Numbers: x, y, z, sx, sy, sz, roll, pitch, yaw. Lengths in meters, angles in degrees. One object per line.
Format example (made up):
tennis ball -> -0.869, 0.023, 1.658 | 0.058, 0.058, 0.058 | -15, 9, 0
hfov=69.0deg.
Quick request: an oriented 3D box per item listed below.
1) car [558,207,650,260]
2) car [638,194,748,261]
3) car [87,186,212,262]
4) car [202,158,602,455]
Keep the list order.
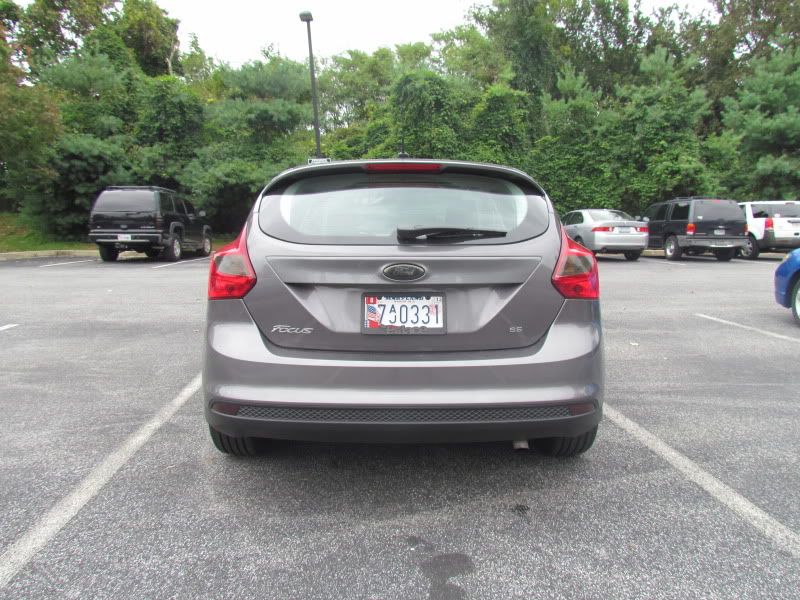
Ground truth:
car -> 7.128, -2.339, 20.639 | 2.037, 1.249, 4.096 | -1, 11, -5
car -> 10.707, -2.545, 20.919 | 3.058, 2.206, 1.924 | 5, 10, 27
car -> -8.476, -2.807, 20.844 | 2.858, 1.985, 5.087 | 1, 9, 8
car -> -0.202, -0.361, 5.107 | 2.543, 1.607, 4.079 | 0, 13, -5
